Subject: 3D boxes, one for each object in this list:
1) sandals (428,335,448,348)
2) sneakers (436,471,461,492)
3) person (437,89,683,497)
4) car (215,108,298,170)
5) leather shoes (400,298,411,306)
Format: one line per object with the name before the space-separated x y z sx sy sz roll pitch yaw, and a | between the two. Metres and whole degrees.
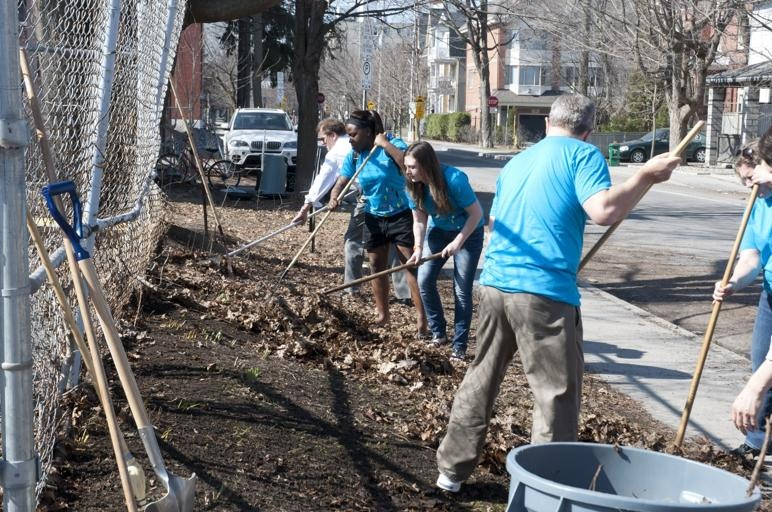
sandals | 0.494 0.813 8.111 0.072 0.065 0.209 -13 -21 23
sneakers | 0.416 1.485 5.674 0.125 0.134 0.136 23 6 8
person | 0.970 0.282 5.459 1.273 2.594 0.618 3 7 16
car | -2.992 -2.864 20.533 1.152 1.149 2.493 0 3 -5
leather shoes | 0.231 0.523 9.704 0.106 0.105 0.068 0 1 6
